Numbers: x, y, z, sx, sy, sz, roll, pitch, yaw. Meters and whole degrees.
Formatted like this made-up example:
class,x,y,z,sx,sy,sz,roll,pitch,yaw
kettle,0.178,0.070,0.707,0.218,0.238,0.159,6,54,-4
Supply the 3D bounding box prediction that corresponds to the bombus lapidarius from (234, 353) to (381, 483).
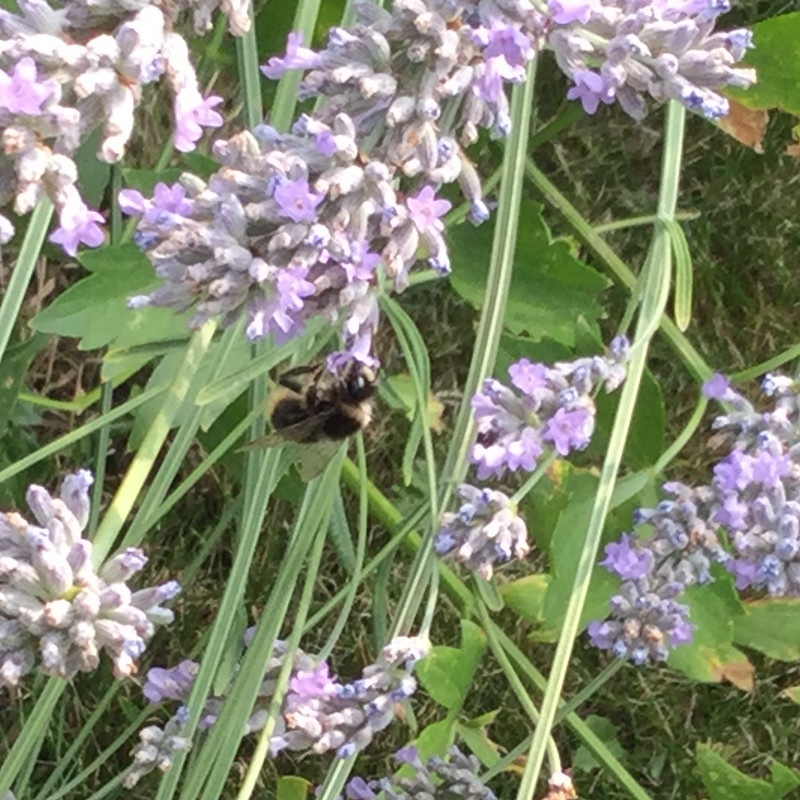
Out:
class,x,y,z,sx,sy,sz,roll,pitch,yaw
bombus lapidarius,-0.174,-0.016,1.838,0.267,0.199,0.121,27,27,-51
